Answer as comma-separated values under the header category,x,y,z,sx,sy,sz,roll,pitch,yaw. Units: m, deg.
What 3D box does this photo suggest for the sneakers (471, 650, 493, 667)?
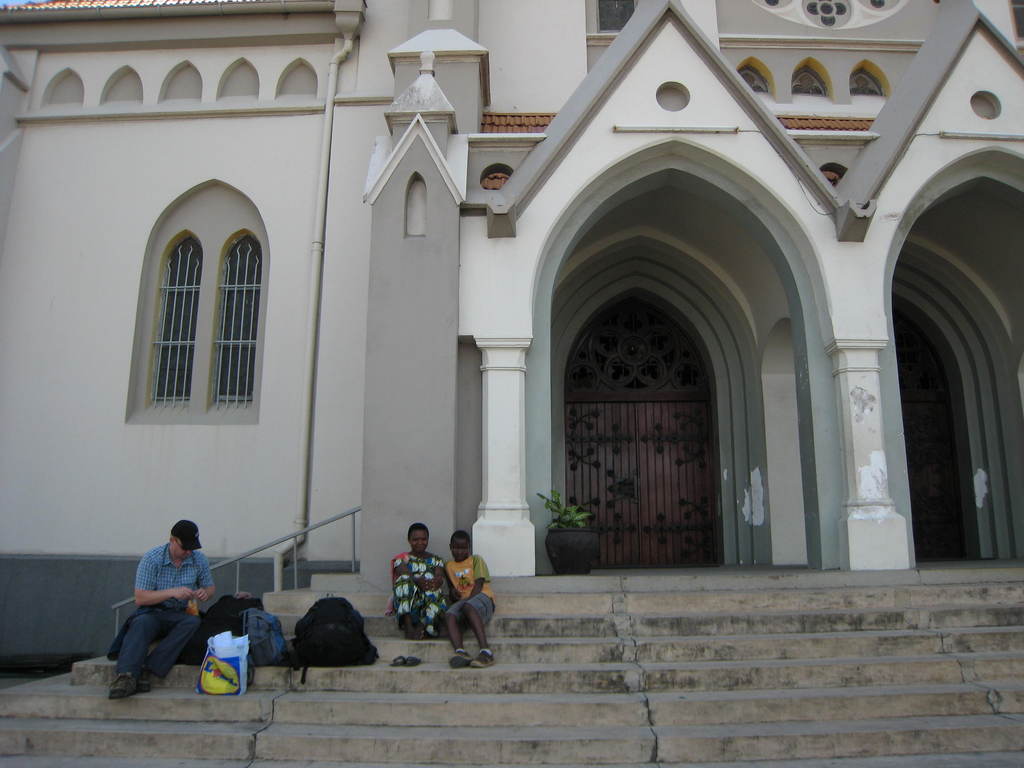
category,x,y,z,sx,sy,sz,roll,pitch,yaw
sneakers,-0.304,2.768,9.264,0.206,0.164,0.260,-1,-11,-3

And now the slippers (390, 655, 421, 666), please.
category,x,y,z,sx,sy,sz,roll,pitch,yaw
slippers,-1.097,2.799,9.224,0.272,0.096,0.124,0,-11,-9

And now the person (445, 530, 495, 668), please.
category,x,y,z,sx,sy,sz,roll,pitch,yaw
person,-0.466,2.229,9.651,0.475,1.369,0.851,-1,-10,-5

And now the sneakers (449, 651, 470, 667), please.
category,x,y,z,sx,sy,sz,roll,pitch,yaw
sneakers,-0.534,2.749,9.177,0.202,0.165,0.094,-1,-10,-5

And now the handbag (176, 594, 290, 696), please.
category,x,y,z,sx,sy,sz,roll,pitch,yaw
handbag,-2.802,2.592,9.259,1.027,0.848,0.513,2,-11,-21

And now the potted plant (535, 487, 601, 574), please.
category,x,y,z,sx,sy,sz,roll,pitch,yaw
potted plant,0.720,1.831,11.362,0.960,1.397,0.861,-1,-14,5

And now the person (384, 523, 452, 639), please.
category,x,y,z,sx,sy,sz,roll,pitch,yaw
person,-1.003,2.125,9.932,0.650,1.220,0.513,-1,-10,-4

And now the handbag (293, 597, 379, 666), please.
category,x,y,z,sx,sy,sz,roll,pitch,yaw
handbag,-1.812,2.636,9.409,0.955,0.870,0.558,2,-20,-11

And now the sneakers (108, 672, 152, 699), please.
category,x,y,z,sx,sy,sz,roll,pitch,yaw
sneakers,-3.709,2.914,8.851,0.400,0.238,0.221,4,-12,-30
